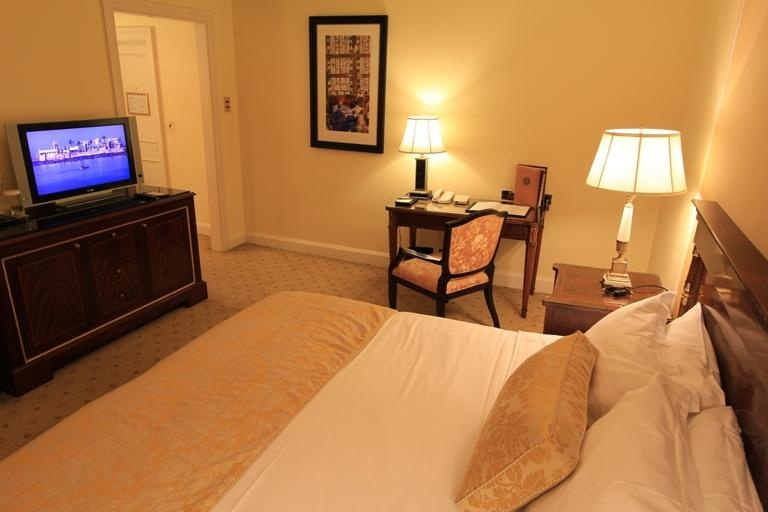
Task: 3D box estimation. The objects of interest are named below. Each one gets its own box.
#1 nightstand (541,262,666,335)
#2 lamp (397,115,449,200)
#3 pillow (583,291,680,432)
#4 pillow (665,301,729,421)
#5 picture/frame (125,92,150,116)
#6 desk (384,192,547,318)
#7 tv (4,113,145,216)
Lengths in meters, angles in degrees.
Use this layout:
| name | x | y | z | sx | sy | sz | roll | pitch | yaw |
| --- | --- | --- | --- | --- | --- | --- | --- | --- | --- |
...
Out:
| name | x | y | z | sx | sy | sz | roll | pitch | yaw |
| --- | --- | --- | --- | --- | --- | --- | --- | --- | --- |
| nightstand | 1.469 | 0.245 | 3.571 | 0.558 | 0.558 | 0.581 | 10 | 30 | 18 |
| lamp | 0.396 | -1.039 | 5.293 | 0.449 | 0.752 | 0.440 | 5 | 20 | 7 |
| pillow | 1.267 | 0.488 | 2.674 | 0.223 | 0.562 | 0.756 | 11 | 19 | 41 |
| pillow | 1.535 | 0.534 | 2.515 | 0.178 | 0.073 | 0.530 | -31 | 15 | 37 |
| picture/frame | -3.083 | -1.901 | 6.438 | 0.423 | 0.279 | 0.059 | 13 | 23 | 28 |
| desk | 0.567 | 0.075 | 4.789 | 0.923 | 1.223 | 0.863 | 20 | 27 | 40 |
| tv | -2.594 | -0.746 | 4.236 | 0.213 | 0.580 | 0.809 | 17 | 27 | 25 |
